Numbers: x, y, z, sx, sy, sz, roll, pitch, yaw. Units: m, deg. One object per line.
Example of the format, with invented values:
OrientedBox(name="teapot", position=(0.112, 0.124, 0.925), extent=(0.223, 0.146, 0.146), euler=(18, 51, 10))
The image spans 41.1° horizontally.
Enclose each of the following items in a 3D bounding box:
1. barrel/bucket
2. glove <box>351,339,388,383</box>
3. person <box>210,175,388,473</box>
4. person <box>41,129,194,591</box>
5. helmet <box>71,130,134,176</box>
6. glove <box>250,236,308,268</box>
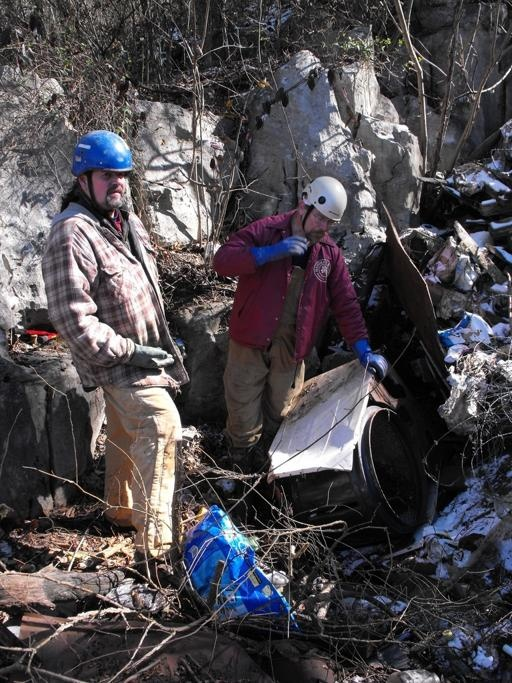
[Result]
OrientedBox(name="barrel/bucket", position=(0.667, 0.748, 3.795), extent=(0.945, 0.662, 0.506), euler=(-17, 30, -38))
OrientedBox(name="glove", position=(0.645, 0.106, 3.910), extent=(0.157, 0.102, 0.251), euler=(11, 42, -25))
OrientedBox(name="person", position=(0.156, 0.007, 3.918), extent=(1.052, 1.761, 0.718), euler=(6, 11, -15))
OrientedBox(name="person", position=(-0.627, 0.077, 3.135), extent=(0.620, 1.941, 1.053), euler=(0, 24, -6))
OrientedBox(name="helmet", position=(-0.683, -0.824, 3.033), extent=(0.245, 0.188, 0.179), euler=(-5, 24, -18))
OrientedBox(name="glove", position=(0.118, -0.470, 3.560), extent=(0.279, 0.143, 0.126), euler=(1, 23, -3))
